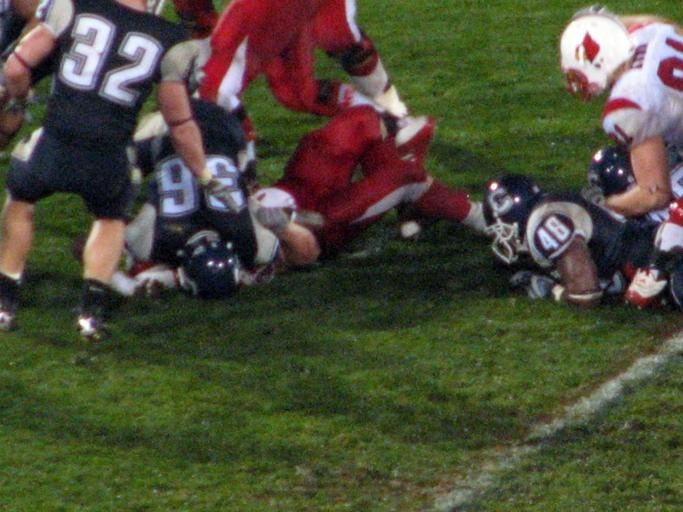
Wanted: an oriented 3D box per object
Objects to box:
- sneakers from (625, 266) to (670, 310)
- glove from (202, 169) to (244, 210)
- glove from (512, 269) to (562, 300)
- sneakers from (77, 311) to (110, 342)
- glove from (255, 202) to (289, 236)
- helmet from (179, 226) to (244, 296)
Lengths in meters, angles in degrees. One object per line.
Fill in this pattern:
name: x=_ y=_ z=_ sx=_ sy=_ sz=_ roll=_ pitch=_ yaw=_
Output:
sneakers: x=1.754 y=0.176 z=7.436 sx=0.156 sy=0.269 sz=0.139 roll=41 pitch=25 yaw=17
glove: x=-0.712 y=-0.374 z=7.531 sx=0.324 sy=0.117 sz=0.135 roll=40 pitch=-9 yaw=-8
glove: x=1.171 y=0.172 z=7.759 sx=0.351 sy=0.103 sz=0.150 roll=19 pitch=2 yaw=27
sneakers: x=-1.415 y=0.409 z=7.445 sx=0.201 sy=0.085 sz=0.160 roll=34 pitch=17 yaw=35
glove: x=-0.397 y=-0.224 z=7.581 sx=0.183 sy=0.150 sz=0.140 roll=-26 pitch=-5 yaw=29
helmet: x=-0.794 y=0.034 z=7.652 sx=0.338 sy=0.346 sz=0.327 roll=-6 pitch=42 yaw=7
